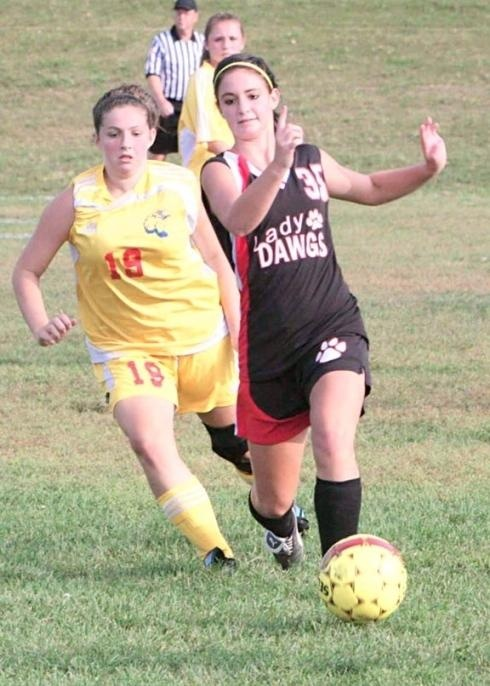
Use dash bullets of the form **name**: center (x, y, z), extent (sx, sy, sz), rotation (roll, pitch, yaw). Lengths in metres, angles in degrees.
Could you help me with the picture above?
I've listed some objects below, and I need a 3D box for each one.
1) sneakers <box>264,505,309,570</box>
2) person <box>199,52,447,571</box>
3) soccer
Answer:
- **sneakers**: center (0.181, 0.760, 3.669), extent (0.118, 0.286, 0.130), rotation (-10, 25, 17)
- **person**: center (0.228, -0.041, 3.245), extent (0.663, 1.878, 0.886), rotation (-2, 12, 12)
- **soccer**: center (0.351, 0.717, 2.903), extent (0.222, 0.201, 0.209), rotation (-37, -12, -22)
